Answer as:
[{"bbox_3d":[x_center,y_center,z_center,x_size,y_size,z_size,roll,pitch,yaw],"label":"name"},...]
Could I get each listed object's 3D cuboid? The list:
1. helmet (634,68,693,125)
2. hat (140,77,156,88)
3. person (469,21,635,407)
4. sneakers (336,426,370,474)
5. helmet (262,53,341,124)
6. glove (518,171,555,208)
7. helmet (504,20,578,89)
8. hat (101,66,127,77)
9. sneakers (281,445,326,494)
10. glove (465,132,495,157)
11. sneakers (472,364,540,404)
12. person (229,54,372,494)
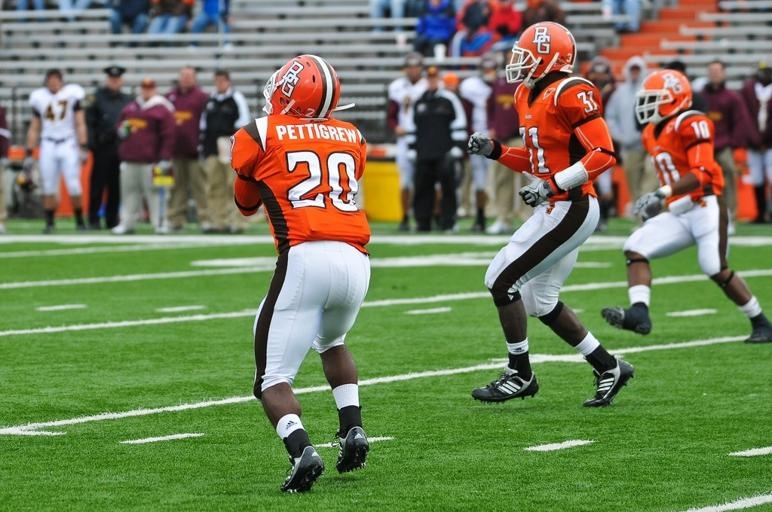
[{"bbox_3d":[2.129,-1.206,8.287,0.442,0.467,0.390,-4,0,-3],"label":"helmet"},{"bbox_3d":[-1.732,-1.249,7.823,0.057,0.044,0.060,-17,-11,37],"label":"hat"},{"bbox_3d":[1.011,-0.260,6.698,0.924,2.335,0.662,1,7,5],"label":"person"},{"bbox_3d":[-0.187,0.961,5.507,0.097,0.313,0.171,-3,43,-23],"label":"sneakers"},{"bbox_3d":[-0.469,-0.901,5.765,0.402,0.395,0.330,19,13,31],"label":"helmet"},{"bbox_3d":[0.933,-0.390,6.715,0.207,0.193,0.271,1,9,8],"label":"glove"},{"bbox_3d":[0.979,-1.292,6.888,0.400,0.444,0.348,1,6,-2],"label":"helmet"},{"bbox_3d":[-1.849,-1.251,7.325,0.141,0.076,0.068,-3,9,-19],"label":"hat"},{"bbox_3d":[-0.420,1.048,5.343,0.188,0.246,0.167,-4,9,-27],"label":"sneakers"},{"bbox_3d":[0.585,-0.698,6.852,0.124,0.150,0.168,-12,-34,-43],"label":"glove"},{"bbox_3d":[0.729,0.782,6.686,0.447,0.251,0.178,-2,-1,-11],"label":"sneakers"},{"bbox_3d":[-0.429,0.212,5.532,0.703,1.831,0.699,-1,7,-9],"label":"person"}]
